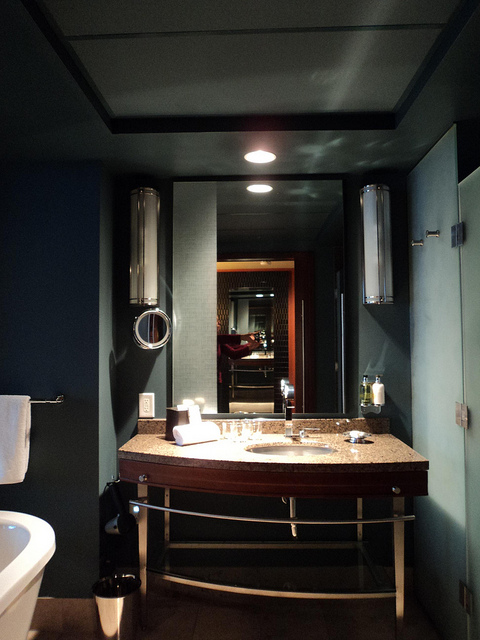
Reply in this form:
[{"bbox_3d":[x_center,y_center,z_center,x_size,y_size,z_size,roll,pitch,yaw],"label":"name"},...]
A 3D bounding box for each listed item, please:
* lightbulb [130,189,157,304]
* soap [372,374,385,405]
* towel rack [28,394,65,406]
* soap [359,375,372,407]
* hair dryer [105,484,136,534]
[{"bbox_3d":[-0.473,-0.357,2.678,0.121,0.606,0.127,0,-5,-5],"label":"lightbulb"},{"bbox_3d":[0.672,0.340,2.611,0.049,0.137,0.103,1,0,11],"label":"soap"},{"bbox_3d":[-0.906,0.376,2.492,0.151,0.053,0.060,1,0,-9],"label":"towel rack"},{"bbox_3d":[0.627,0.359,2.663,0.058,0.164,0.113,1,1,11],"label":"soap"},{"bbox_3d":[-0.567,0.885,2.484,0.071,0.248,0.104,-30,-23,32],"label":"hair dryer"}]
